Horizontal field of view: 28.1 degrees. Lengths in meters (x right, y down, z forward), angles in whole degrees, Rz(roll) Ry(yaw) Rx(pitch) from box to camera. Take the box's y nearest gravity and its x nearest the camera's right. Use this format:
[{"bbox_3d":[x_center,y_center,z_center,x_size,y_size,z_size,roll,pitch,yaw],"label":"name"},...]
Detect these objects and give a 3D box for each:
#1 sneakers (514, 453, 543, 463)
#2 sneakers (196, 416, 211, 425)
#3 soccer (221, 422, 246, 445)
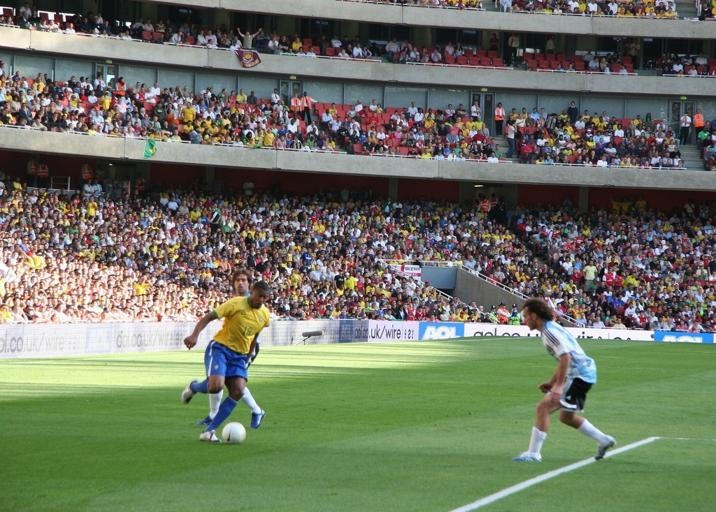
[{"bbox_3d":[4.198,4.971,35.105,0.663,0.292,0.250,2,-7,4],"label":"sneakers"},{"bbox_3d":[-3.922,4.257,36.763,0.523,0.267,0.184,0,-6,26],"label":"sneakers"},{"bbox_3d":[-3.128,4.417,35.940,0.492,0.523,0.517,-15,-42,29],"label":"soccer"}]
